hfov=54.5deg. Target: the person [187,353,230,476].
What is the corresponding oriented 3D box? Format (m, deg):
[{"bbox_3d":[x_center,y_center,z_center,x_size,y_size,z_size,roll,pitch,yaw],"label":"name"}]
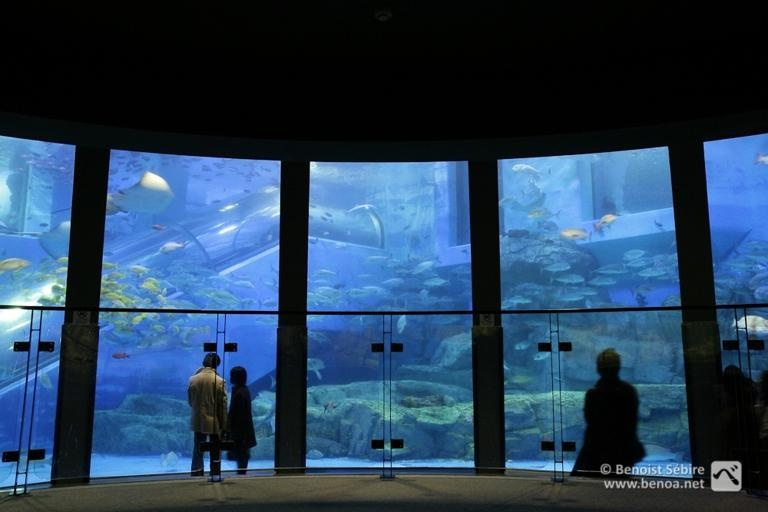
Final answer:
[{"bbox_3d":[-3.070,2.700,12.845,0.753,2.037,0.593,-7,13,-22],"label":"person"}]
